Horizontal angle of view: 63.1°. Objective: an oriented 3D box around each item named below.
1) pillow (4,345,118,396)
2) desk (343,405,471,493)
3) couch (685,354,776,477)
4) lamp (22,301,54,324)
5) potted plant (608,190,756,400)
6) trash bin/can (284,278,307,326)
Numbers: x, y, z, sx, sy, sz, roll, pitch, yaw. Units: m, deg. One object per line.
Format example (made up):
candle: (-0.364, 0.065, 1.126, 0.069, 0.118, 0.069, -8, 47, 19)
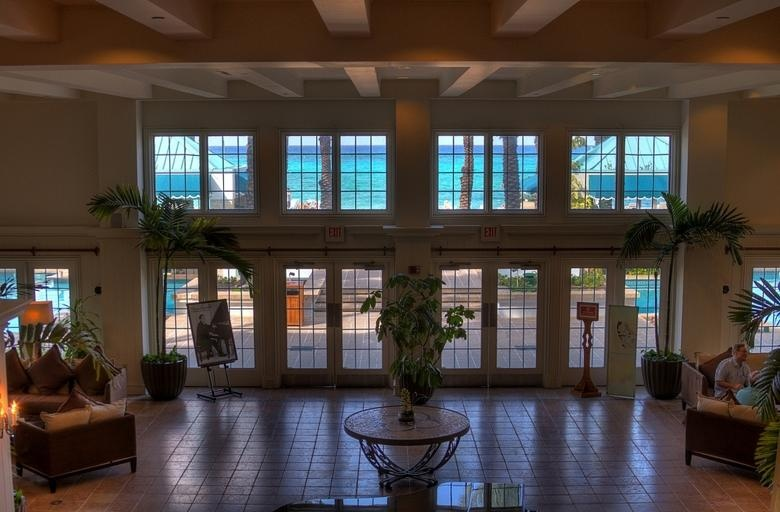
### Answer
pillow: (-6.118, 2.149, 11.866, 1.732, 0.623, 0.972, 4, 2, -4)
desk: (0.242, 2.901, 9.818, 1.792, 1.262, 1.235, -1, 13, -5)
couch: (5.301, 2.548, 10.148, 1.536, 1.178, 1.082, 9, 19, 39)
lamp: (-6.920, 1.104, 12.376, 0.556, 0.499, 0.352, -4, 14, -17)
potted plant: (5.948, 0.392, 12.961, 2.504, 3.332, 1.434, 2, 13, 10)
trash bin/can: (-2.001, 0.990, 13.362, 0.401, 0.968, 0.209, -3, 13, -10)
